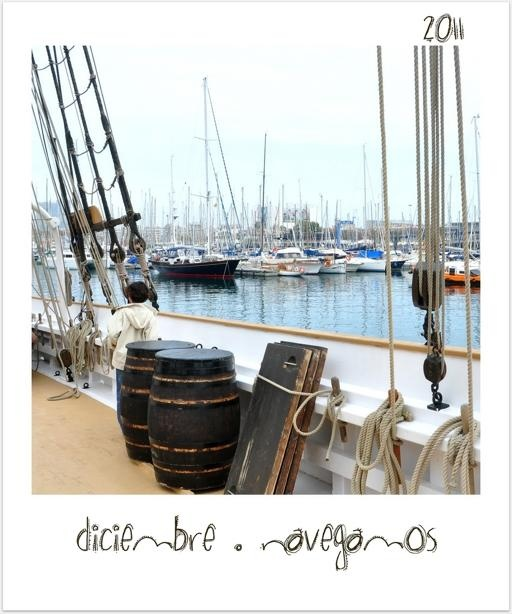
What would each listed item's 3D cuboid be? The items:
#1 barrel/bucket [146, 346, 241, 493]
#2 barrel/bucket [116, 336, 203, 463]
[{"bbox_3d":[-0.288,0.595,2.922,0.468,0.974,0.604,0,0,0],"label":"barrel/bucket"},{"bbox_3d":[-0.551,0.573,3.381,0.452,0.961,0.590,1,2,-13],"label":"barrel/bucket"}]
